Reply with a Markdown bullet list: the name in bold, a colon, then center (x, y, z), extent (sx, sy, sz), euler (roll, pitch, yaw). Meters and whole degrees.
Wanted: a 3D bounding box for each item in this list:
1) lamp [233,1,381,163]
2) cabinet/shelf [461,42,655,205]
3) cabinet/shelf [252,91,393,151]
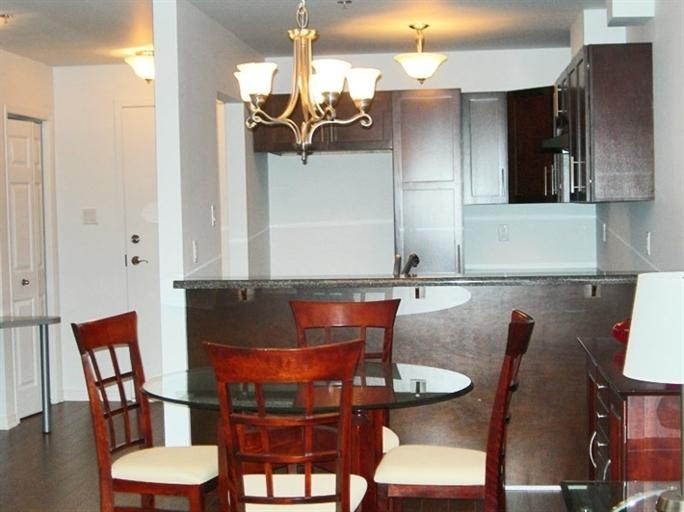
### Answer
- **lamp**: center (-0.184, -1.002, 3.703), extent (0.775, 0.963, 0.524), euler (-1, 4, 4)
- **cabinet/shelf**: center (1.480, -0.887, 4.870), extent (0.613, 1.002, 1.708), euler (-2, 4, -10)
- **cabinet/shelf**: center (-0.217, -1.150, 5.712), extent (1.319, 0.472, 0.376), euler (-9, 15, -30)
